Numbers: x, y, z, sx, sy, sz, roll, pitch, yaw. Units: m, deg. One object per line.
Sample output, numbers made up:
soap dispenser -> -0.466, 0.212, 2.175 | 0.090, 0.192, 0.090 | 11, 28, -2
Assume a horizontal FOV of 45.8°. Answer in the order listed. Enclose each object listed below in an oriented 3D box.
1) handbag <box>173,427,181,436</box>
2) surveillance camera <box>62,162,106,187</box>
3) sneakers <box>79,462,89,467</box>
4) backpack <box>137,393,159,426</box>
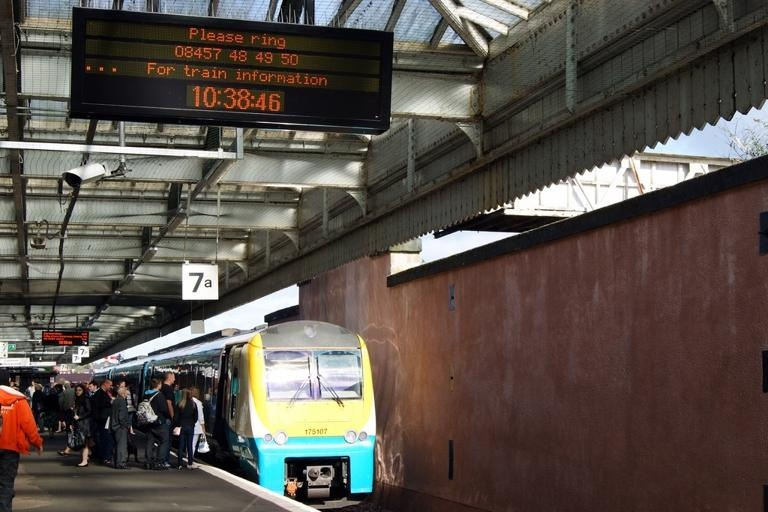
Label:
handbag -> -4.623, 3.954, 20.382 | 0.105, 0.127, 0.292 | 3, -22, -10
surveillance camera -> -5.859, -1.608, 17.843 | 0.420, 0.272, 0.799 | 32, 28, 12
sneakers -> -6.878, 4.782, 20.776 | 0.232, 0.096, 0.074 | 2, -3, 29
backpack -> -5.174, 3.448, 20.178 | 0.386, 0.631, 0.612 | -6, -1, 35
